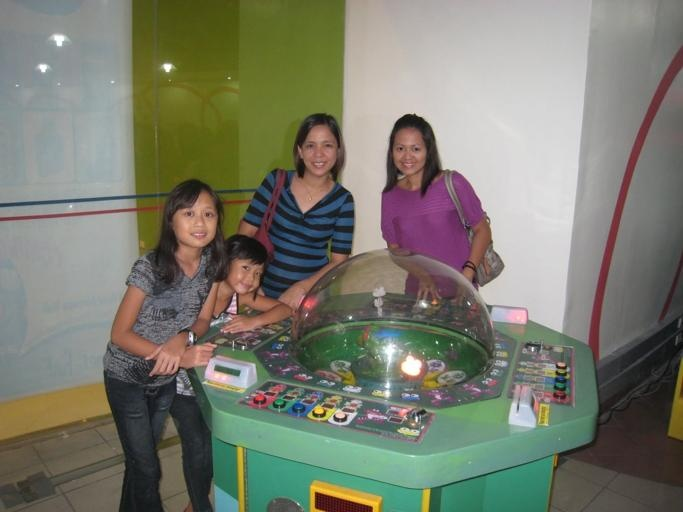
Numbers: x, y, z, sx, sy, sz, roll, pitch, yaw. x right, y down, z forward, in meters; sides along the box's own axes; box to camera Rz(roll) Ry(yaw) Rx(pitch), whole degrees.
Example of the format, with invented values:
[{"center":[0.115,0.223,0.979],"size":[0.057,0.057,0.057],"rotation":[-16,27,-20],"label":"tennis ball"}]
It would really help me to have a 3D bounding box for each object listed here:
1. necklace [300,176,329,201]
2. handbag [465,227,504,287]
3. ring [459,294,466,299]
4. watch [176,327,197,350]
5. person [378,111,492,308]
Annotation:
[{"center":[-0.152,-0.363,2.634],"size":[0.118,0.129,0.052],"rotation":[-2,3,-1],"label":"necklace"},{"center":[0.796,0.045,2.871],"size":[0.152,0.213,0.326],"rotation":[13,50,-38],"label":"handbag"},{"center":[0.494,0.164,1.996],"size":[0.016,0.013,0.017],"rotation":[0,6,0],"label":"ring"},{"center":[-0.636,0.332,1.988],"size":[0.071,0.087,0.053],"rotation":[-16,10,-20],"label":"watch"},{"center":[0.511,-0.302,2.730],"size":[0.641,0.933,0.285],"rotation":[8,17,27],"label":"person"}]
